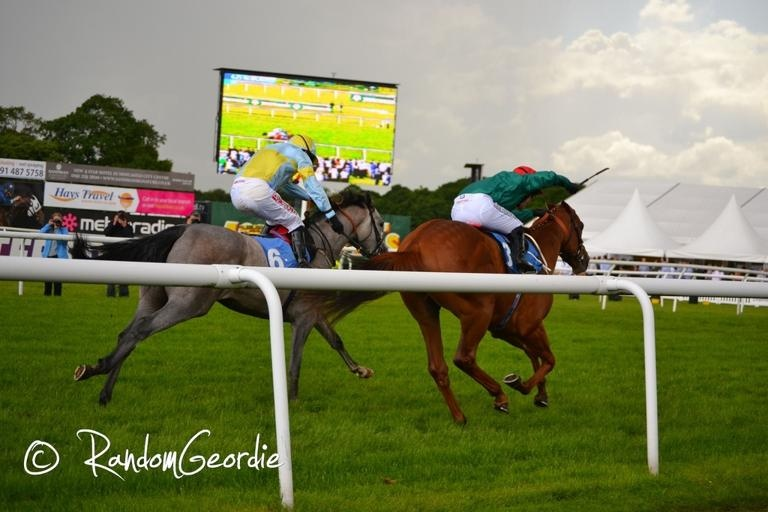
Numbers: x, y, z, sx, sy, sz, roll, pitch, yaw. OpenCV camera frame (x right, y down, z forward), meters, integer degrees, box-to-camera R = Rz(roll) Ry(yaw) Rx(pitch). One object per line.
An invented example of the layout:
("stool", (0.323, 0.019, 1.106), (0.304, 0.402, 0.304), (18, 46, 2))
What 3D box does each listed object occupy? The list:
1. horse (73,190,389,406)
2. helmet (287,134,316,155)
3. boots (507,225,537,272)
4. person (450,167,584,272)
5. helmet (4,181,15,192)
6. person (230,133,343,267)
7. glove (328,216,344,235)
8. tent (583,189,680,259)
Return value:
("horse", (-0.996, 0.114, 6.887), (1.563, 1.097, 3.234), (4, 2, 30))
("helmet", (-0.641, -0.910, 8.139), (0.204, 0.171, 0.150), (29, -6, -18))
("boots", (0.984, -0.042, 7.336), (0.133, 0.099, 0.312), (-13, 22, 9))
("person", (0.942, -0.269, 7.669), (0.933, 0.781, 0.435), (8, -7, -6))
("helmet", (-9.079, -1.663, 24.656), (0.173, 0.146, 0.223), (3, -22, -46))
("person", (-0.723, -0.454, 7.897), (0.828, 1.049, 0.674), (8, 18, 32))
("glove", (-0.365, -0.236, 7.822), (0.086, 0.133, 0.036), (-35, -1, -10))
("tent", (4.462, -0.404, 18.492), (1.221, 0.873, 1.675), (2, 0, 7))
